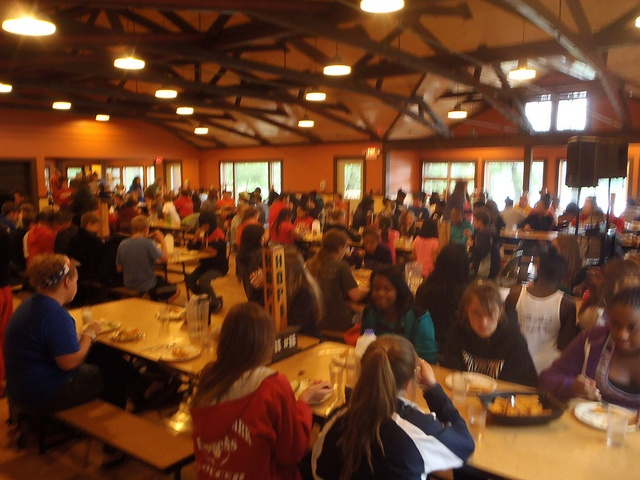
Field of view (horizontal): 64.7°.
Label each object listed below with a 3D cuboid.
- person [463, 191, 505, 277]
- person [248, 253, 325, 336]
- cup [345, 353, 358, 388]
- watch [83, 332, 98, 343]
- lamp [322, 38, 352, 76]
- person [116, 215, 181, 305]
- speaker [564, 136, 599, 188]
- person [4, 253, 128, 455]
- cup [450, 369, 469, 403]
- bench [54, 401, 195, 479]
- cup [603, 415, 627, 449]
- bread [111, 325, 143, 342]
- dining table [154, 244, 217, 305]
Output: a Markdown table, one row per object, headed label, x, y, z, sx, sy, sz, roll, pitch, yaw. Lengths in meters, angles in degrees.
| label | x | y | z | sx | sy | sz | roll | pitch | yaw |
| --- | --- | --- | --- | --- | --- | --- | --- | --- | --- |
| person | 2.309 | 0.045 | 7.045 | 0.424 | 0.996 | 0.753 | 3 | 5 | 17 |
| person | -0.334 | 0.348 | 4.266 | 0.591 | 0.995 | 0.548 | -5 | 14 | -10 |
| cup | 0.166 | 0.788 | 2.988 | 0.054 | 0.172 | 0.114 | 3 | -10 | -3 |
| watch | -1.661 | 0.716 | 3.656 | 0.064 | 0.053 | 0.065 | -2 | 4 | -32 |
| lamp | 0.242 | -2.508 | 7.117 | 0.338 | 0.297 | 0.310 | -1 | 5 | -30 |
| person | -2.092 | 0.433 | 6.219 | 0.570 | 1.448 | 0.758 | 3 | 5 | 22 |
| speaker | 3.279 | -0.962 | 6.308 | 0.360 | 0.657 | 0.218 | 4 | 5 | 31 |
| person | -1.949 | 0.928 | 3.896 | 0.640 | 1.583 | 0.968 | 25 | 28 | 26 |
| cup | 0.831 | 0.871 | 2.980 | 0.126 | 0.227 | 0.135 | 0 | -1 | 0 |
| bench | -1.312 | 1.415 | 3.425 | 1.124 | 0.318 | 0.310 | 5 | 5 | 31 |
| cup | 1.573 | 0.995 | 2.671 | 0.088 | 0.184 | 0.167 | 4 | 5 | 32 |
| bread | -1.464 | 0.727 | 3.853 | 0.124 | 0.058 | 0.146 | 5 | -4 | 5 |
| dining table | -1.986 | 0.532 | 7.409 | 0.862 | 0.923 | 0.894 | 13 | 18 | 38 |
